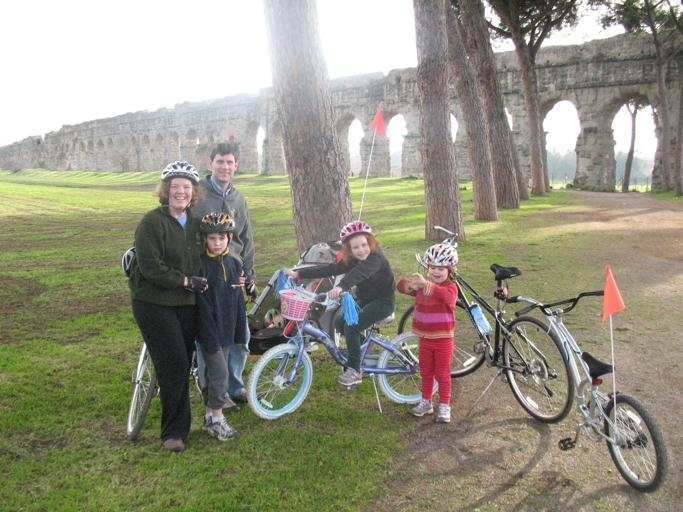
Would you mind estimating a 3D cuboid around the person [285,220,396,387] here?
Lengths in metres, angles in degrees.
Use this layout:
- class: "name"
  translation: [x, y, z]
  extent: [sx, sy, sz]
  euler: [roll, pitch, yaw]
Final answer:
- class: "person"
  translation: [0.137, 0.488, 5.672]
  extent: [0.874, 1.735, 0.723]
  euler: [-7, 9, -27]

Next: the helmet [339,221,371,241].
- class: "helmet"
  translation: [0.171, -0.274, 5.572]
  extent: [0.314, 0.202, 0.358]
  euler: [-2, 8, 4]

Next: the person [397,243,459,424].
- class: "person"
  translation: [0.950, 0.834, 5.394]
  extent: [0.554, 1.894, 0.345]
  euler: [-1, 8, 7]

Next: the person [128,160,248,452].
- class: "person"
  translation: [-1.596, 0.486, 4.875]
  extent: [0.751, 2.714, 0.404]
  euler: [-6, 9, -25]

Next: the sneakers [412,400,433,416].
- class: "sneakers"
  translation: [0.898, 1.649, 5.534]
  extent: [0.319, 0.178, 0.115]
  euler: [15, -6, -34]

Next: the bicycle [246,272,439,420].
- class: "bicycle"
  translation: [0.073, 1.003, 5.569]
  extent: [2.151, 1.481, 1.110]
  euler: [-1, 8, -17]

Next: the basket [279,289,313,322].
- class: "basket"
  translation: [-0.473, 0.498, 5.302]
  extent: [0.301, 0.250, 0.314]
  euler: [5, 0, -19]

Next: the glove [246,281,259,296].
- class: "glove"
  translation: [-0.992, 0.369, 5.666]
  extent: [0.096, 0.166, 0.116]
  euler: [-19, 8, -34]

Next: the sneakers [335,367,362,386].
- class: "sneakers"
  translation: [0.094, 1.278, 5.426]
  extent: [0.287, 0.152, 0.131]
  euler: [15, -5, -41]

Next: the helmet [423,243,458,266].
- class: "helmet"
  translation: [1.087, -0.011, 5.398]
  extent: [0.323, 0.239, 0.422]
  euler: [3, 11, 37]

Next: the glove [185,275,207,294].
- class: "glove"
  translation: [-1.381, 0.275, 4.842]
  extent: [0.208, 0.197, 0.185]
  euler: [-5, 9, -14]
